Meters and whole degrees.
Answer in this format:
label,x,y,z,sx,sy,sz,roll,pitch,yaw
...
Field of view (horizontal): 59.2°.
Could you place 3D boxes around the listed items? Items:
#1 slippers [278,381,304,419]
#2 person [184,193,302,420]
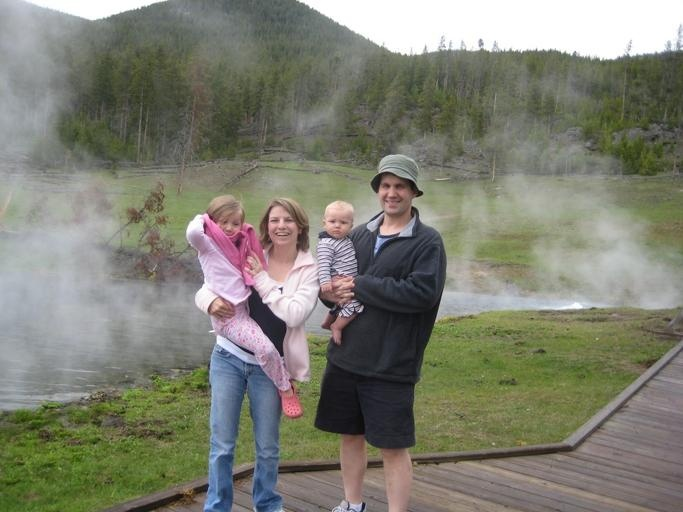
label,x,y,z,sx,sy,sz,roll,pitch,yaw
slippers,-0.641,1.864,7.669,0.240,0.507,0.205,-9,-32,-12
person,-1.275,0.649,7.729,1.350,2.838,0.729,0,7,1
